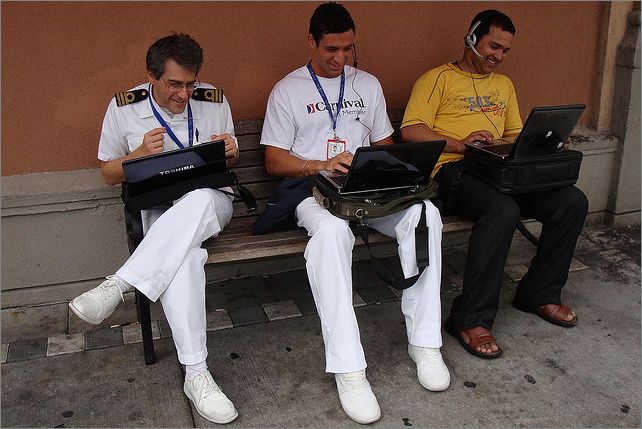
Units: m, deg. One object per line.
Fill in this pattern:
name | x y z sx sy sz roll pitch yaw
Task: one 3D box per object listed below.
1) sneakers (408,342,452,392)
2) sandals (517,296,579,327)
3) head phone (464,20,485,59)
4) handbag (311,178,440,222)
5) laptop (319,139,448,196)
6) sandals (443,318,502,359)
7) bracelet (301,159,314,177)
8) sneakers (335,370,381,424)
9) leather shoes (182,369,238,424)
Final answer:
sneakers | 0.674 0.925 3.014 0.131 0.134 0.330 -9 24 -11
sandals | 1.655 0.719 3.527 0.385 0.117 0.155 12 38 32
head phone | 1.135 -1.308 3.600 0.079 0.230 0.195 6 21 30
handbag | 0.328 -0.100 3.243 0.828 0.191 0.698 -3 18 -32
laptop | 0.424 -0.278 2.870 0.484 0.283 0.400 -8 30 -18
sandals | 1.030 0.845 3.263 0.146 0.122 0.340 -22 43 -21
bracelet | -0.100 -0.314 3.287 0.031 0.085 0.077 22 13 40
sneakers | 0.211 1.053 2.773 0.147 0.131 0.361 -10 20 -15
leather shoes | -0.660 1.032 2.850 0.166 0.178 0.396 -24 38 -37
